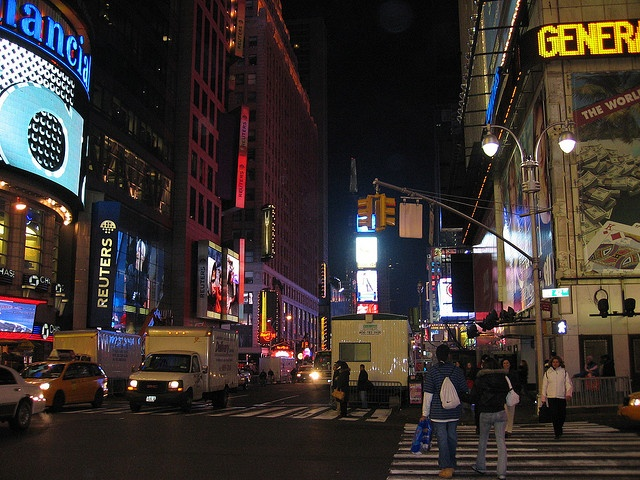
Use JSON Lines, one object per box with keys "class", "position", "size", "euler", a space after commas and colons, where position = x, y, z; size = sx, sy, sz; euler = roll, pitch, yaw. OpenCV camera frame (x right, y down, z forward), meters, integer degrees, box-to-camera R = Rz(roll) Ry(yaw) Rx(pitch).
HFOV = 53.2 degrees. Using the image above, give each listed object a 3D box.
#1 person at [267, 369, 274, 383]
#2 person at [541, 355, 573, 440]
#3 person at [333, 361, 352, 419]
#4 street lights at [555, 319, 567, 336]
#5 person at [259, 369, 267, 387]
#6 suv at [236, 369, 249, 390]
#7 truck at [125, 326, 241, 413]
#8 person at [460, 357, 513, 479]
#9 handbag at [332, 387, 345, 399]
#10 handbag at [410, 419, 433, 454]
{"class": "person", "position": [-5.389, 15.022, 70.444], "size": [0.591, 1.509, 1.639], "euler": [0, -13, -6]}
{"class": "person", "position": [7.291, 4.812, 19.677], "size": [0.876, 2.455, 0.890], "euler": [-5, -13, 20]}
{"class": "person", "position": [0.907, 6.247, 27.190], "size": [0.671, 2.239, 1.462], "euler": [-1, -13, 0]}
{"class": "street lights", "position": [11.984, 4.318, 31.754], "size": [0.731, 1.126, 0.116], "euler": [-3, 4, 16]}
{"class": "person", "position": [-5.630, 13.494, 62.486], "size": [0.535, 1.388, 2.052], "euler": [1, -14, -7]}
{"class": "suv", "position": [-5.951, 10.969, 50.015], "size": [0.989, 1.073, 2.315], "euler": [0, -2, 6]}
{"class": "truck", "position": [-6.177, 5.935, 29.440], "size": [2.969, 3.832, 7.088], "euler": [-2, -10, 10]}
{"class": "person", "position": [4.019, 4.146, 15.084], "size": [0.903, 2.728, 0.948], "euler": [-4, -13, 15]}
{"class": "handbag", "position": [0.746, 6.432, 26.857], "size": [0.578, 0.469, 0.475], "euler": [-7, -14, 24]}
{"class": "handbag", "position": [2.282, 4.388, 14.322], "size": [0.391, 0.747, 0.577], "euler": [-5, -13, 18]}
